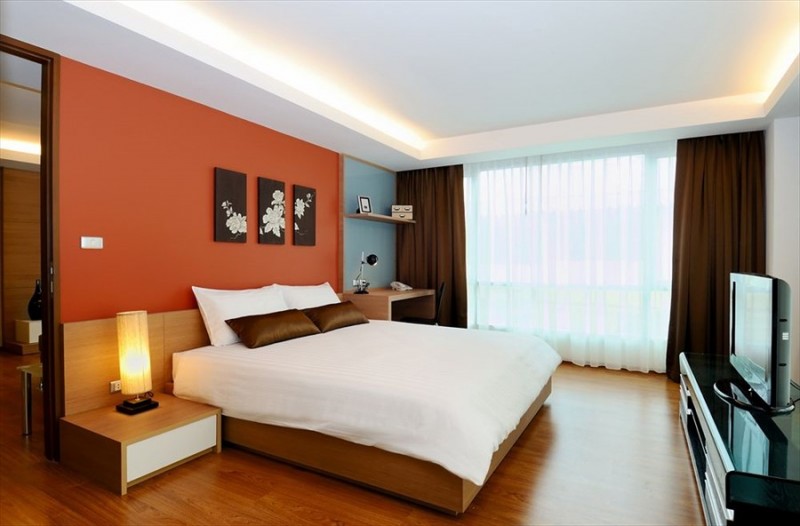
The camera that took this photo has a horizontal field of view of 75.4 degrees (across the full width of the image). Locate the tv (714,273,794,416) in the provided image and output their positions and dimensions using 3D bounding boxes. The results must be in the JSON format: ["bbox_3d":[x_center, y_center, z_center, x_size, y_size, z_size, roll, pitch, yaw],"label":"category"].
[{"bbox_3d":[2.921,0.683,4.246,0.428,1.001,1.117,0,0,21],"label":"tv"}]

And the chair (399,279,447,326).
[{"bbox_3d":[0.267,0.533,7.010,0.633,0.868,0.522,2,-1,9],"label":"chair"}]

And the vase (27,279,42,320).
[{"bbox_3d":[-5.053,0.509,7.136,0.167,0.536,0.438,-5,5,-37],"label":"vase"}]

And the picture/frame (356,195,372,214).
[{"bbox_3d":[-0.509,-0.788,6.994,0.103,0.253,0.296,-5,-4,30],"label":"picture/frame"}]

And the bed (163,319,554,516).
[{"bbox_3d":[-0.284,1.123,4.253,1.797,0.437,1.848,2,3,31],"label":"bed"}]

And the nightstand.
[{"bbox_3d":[-2.067,1.399,4.335,0.714,0.351,0.782,2,-1,30],"label":"nightstand"}]
